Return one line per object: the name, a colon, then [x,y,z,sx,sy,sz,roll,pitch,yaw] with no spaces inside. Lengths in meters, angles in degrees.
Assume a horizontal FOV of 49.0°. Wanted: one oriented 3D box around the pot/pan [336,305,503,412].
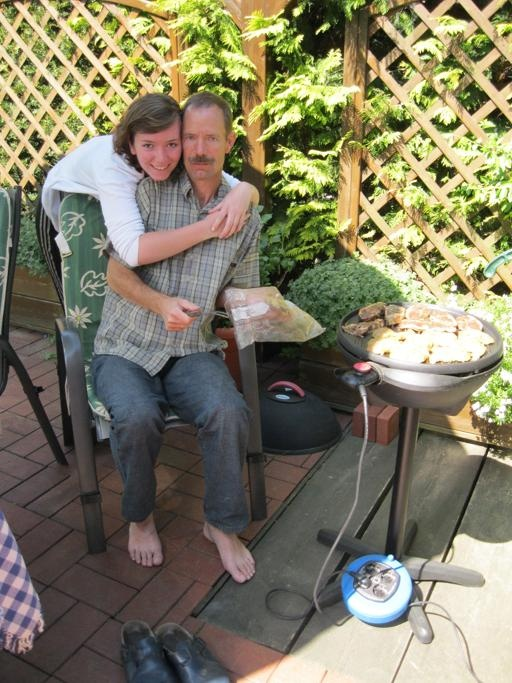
pot/pan: [0.363,0.062,1.306,0.369,0.198,0.352,6,15,11]
